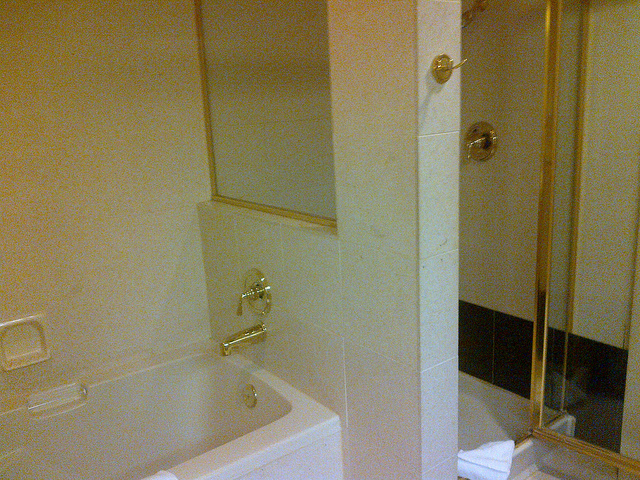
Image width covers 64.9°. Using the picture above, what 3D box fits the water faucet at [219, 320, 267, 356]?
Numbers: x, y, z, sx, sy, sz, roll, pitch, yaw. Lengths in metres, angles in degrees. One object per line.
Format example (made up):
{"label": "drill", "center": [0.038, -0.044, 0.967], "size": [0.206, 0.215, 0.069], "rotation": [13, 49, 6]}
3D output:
{"label": "water faucet", "center": [-0.235, 0.301, 1.522], "size": [0.145, 0.044, 0.063], "rotation": [-15, -56, -35]}
